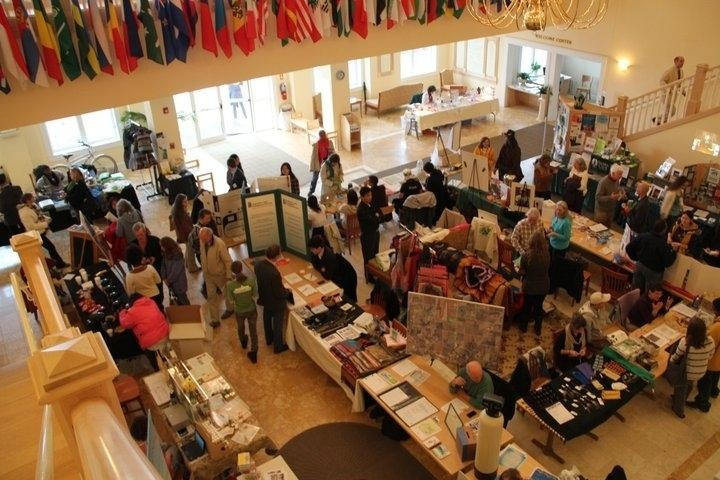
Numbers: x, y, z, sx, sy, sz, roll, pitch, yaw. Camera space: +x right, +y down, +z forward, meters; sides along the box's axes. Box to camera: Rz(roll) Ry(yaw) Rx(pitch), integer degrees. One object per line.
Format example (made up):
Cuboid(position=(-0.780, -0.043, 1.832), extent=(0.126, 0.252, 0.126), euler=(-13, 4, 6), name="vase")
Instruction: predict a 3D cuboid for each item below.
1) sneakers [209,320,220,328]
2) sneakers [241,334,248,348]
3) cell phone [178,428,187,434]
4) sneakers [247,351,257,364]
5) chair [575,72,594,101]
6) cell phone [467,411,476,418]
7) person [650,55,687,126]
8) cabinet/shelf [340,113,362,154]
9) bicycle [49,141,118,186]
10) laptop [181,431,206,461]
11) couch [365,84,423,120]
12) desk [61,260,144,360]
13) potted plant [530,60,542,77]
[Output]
Cuboid(position=(-2.728, 1.577, 9.141), extent=(0.176, 0.177, 0.097), euler=(16, 59, -14), name="sneakers")
Cuboid(position=(-2.028, 1.787, 8.646), extent=(0.112, 0.233, 0.153), euler=(-2, 13, -4), name="sneakers")
Cuboid(position=(-2.414, 2.584, 6.619), extent=(0.069, 0.019, 0.068), euler=(-20, 67, -13), name="cell phone")
Cuboid(position=(-1.851, 1.996, 8.444), extent=(0.105, 0.214, 0.224), euler=(-8, 53, -13), name="sneakers")
Cuboid(position=(8.131, -5.516, 17.692), extent=(0.567, 0.807, 0.937), euler=(-1, 25, 11), name="chair")
Cuboid(position=(1.480, 2.311, 6.506), extent=(0.142, 0.029, 0.081), euler=(-21, 29, -27), name="cell phone")
Cuboid(position=(7.856, -3.752, 12.405), extent=(0.584, 1.629, 1.303), euler=(9, 29, 30), name="person")
Cuboid(position=(-0.337, -3.432, 15.891), extent=(0.640, 1.441, 0.747), euler=(-28, 42, -34), name="cabinet/shelf")
Cuboid(position=(-7.639, -2.081, 13.332), extent=(1.811, 1.172, 0.930), euler=(-8, 43, -6), name="bicycle")
Cuboid(position=(-2.200, 2.746, 6.443), extent=(0.261, 0.228, 0.357), euler=(-26, 47, -30), name="laptop")
Cuboid(position=(1.322, -5.611, 19.151), extent=(2.366, 1.038, 0.969), euler=(-23, 35, -34), name="couch")
Cuboid(position=(-3.784, 1.018, 7.309), extent=(0.580, 0.403, 1.666), euler=(-26, 51, -20), name="desk")
Cuboid(position=(6.574, -6.381, 18.191), extent=(0.481, 0.517, 0.320), euler=(3, 26, 20), name="potted plant")
